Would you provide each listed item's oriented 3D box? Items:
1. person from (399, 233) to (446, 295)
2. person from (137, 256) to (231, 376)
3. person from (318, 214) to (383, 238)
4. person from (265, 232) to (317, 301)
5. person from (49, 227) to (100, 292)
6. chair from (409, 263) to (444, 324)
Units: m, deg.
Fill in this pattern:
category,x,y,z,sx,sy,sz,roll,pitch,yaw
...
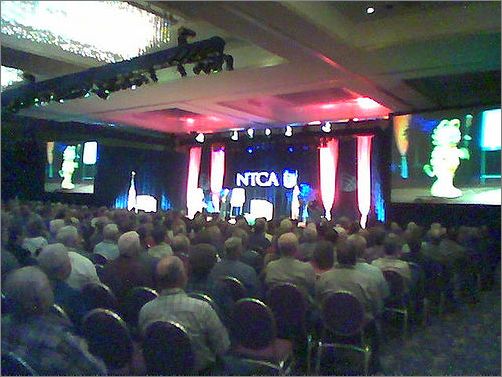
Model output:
category,x,y,z,sx,sy,sz,roll,pitch,yaw
person,2.425,1.028,5.614,0.381,0.749,0.180,-9,-15,13
person,-0.654,1.289,4.008,1.017,1.199,0.658,1,24,3
person,1.879,0.780,8.414,0.886,0.458,1.214,1,3,5
person,0.522,1.034,5.332,0.599,0.858,0.458,4,16,16
person,-2.230,0.895,5.118,0.518,0.328,1.063,3,-37,1
chair,2.290,1.390,5.348,0.374,0.745,0.532,11,-9,-38
